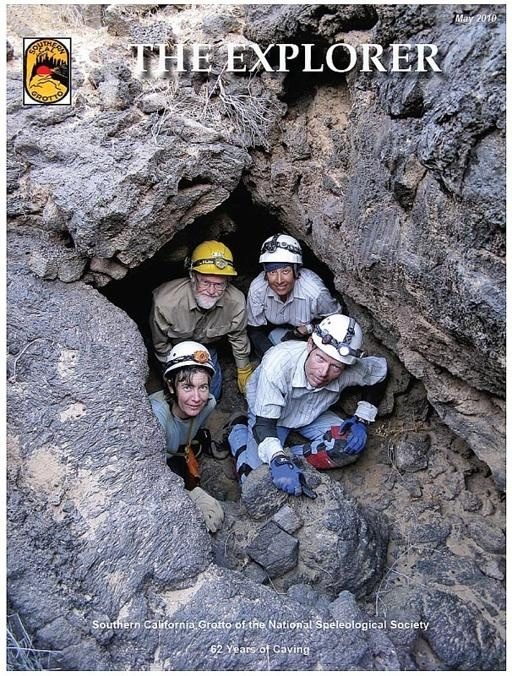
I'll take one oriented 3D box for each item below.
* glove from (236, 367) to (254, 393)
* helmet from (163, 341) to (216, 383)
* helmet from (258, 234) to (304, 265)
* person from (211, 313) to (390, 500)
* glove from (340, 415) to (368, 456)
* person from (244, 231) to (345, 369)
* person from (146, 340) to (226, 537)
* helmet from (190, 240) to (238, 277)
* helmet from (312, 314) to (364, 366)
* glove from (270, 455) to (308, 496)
[{"bbox_3d":[-0.099,0.350,4.822,0.077,0.202,0.151,6,-3,-36],"label":"glove"},{"bbox_3d":[-0.421,0.136,3.737,0.238,0.231,0.285,2,34,-10],"label":"helmet"},{"bbox_3d":[0.193,-0.620,4.223,0.301,0.216,0.178,8,25,-2],"label":"helmet"},{"bbox_3d":[0.347,0.382,3.983,0.978,1.352,1.266,1,55,-11],"label":"person"},{"bbox_3d":[0.668,0.680,4.051,0.168,0.189,0.269,11,25,5],"label":"glove"},{"bbox_3d":[0.256,-0.322,4.604,0.949,0.858,1.132,7,-9,13],"label":"person"},{"bbox_3d":[-0.443,0.595,3.797,0.496,1.040,1.093,4,26,-10],"label":"person"},{"bbox_3d":[-0.297,-0.542,4.209,0.335,0.261,0.246,-1,27,-19],"label":"helmet"},{"bbox_3d":[0.542,0.019,3.805,0.282,0.265,0.335,28,17,-18],"label":"helmet"},{"bbox_3d":[0.191,0.819,3.538,0.207,0.137,0.288,3,26,-12],"label":"glove"}]
